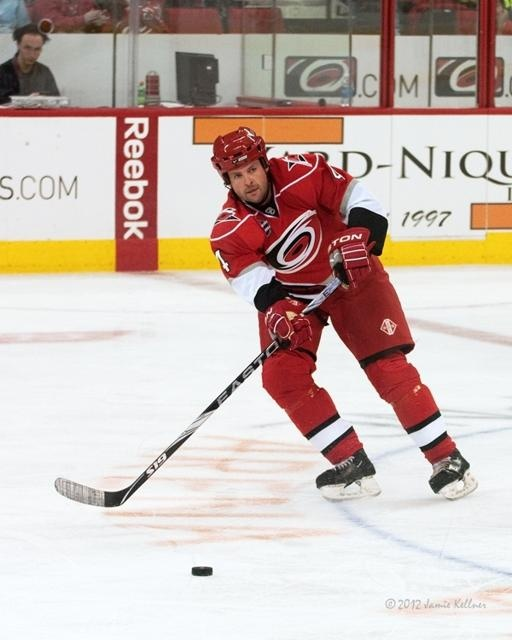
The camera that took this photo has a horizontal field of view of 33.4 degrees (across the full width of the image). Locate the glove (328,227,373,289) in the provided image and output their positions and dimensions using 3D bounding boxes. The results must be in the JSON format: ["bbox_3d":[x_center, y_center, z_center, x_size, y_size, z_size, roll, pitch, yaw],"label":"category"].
[{"bbox_3d":[0.252,-0.153,2.130,0.126,0.131,0.070,-23,-22,32],"label":"glove"}]

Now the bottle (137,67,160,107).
[{"bbox_3d":[-0.867,-1.852,6.804,0.186,0.267,0.039,-2,10,-6],"label":"bottle"}]

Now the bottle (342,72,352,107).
[{"bbox_3d":[0.742,-1.898,7.020,0.085,0.233,0.065,8,14,43],"label":"bottle"}]

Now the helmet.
[{"bbox_3d":[-0.045,-0.444,2.211,0.138,0.156,0.144,-27,26,10],"label":"helmet"}]

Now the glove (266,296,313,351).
[{"bbox_3d":[0.056,0.006,2.109,0.114,0.124,0.062,-3,-29,-34],"label":"glove"}]

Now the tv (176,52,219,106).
[{"bbox_3d":[-0.489,-1.958,6.823,0.466,0.360,0.209,-2,18,-13],"label":"tv"}]

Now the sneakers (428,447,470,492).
[{"bbox_3d":[0.481,0.371,2.141,0.078,0.057,0.120,-18,24,14],"label":"sneakers"}]

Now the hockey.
[{"bbox_3d":[-0.214,0.246,2.899,1.182,0.155,0.110,-33,28,-9],"label":"hockey"}]
